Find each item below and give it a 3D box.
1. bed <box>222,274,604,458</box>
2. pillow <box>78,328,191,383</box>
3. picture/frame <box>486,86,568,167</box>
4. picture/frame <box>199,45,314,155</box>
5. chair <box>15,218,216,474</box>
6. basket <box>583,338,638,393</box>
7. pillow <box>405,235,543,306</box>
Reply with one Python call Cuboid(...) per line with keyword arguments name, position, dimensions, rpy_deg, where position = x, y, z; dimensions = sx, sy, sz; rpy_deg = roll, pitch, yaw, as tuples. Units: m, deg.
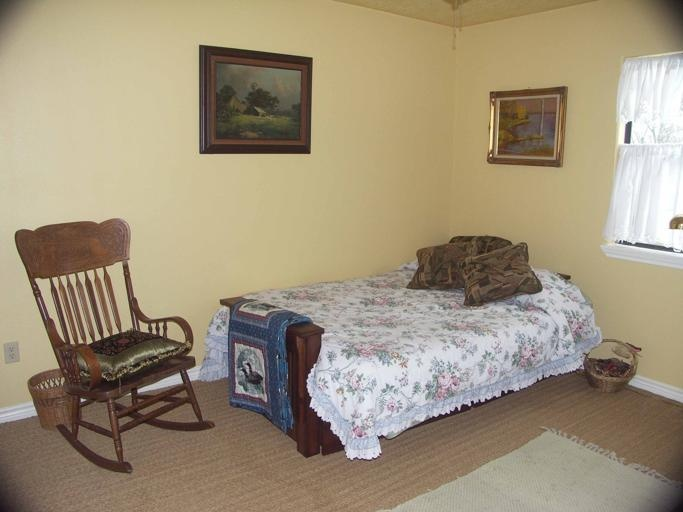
Cuboid(name="bed", position=(0.680, 0.609, 3.618), dimensions=(1.914, 0.592, 1.324), rpy_deg=(-12, 19, -33))
Cuboid(name="pillow", position=(-1.374, 0.640, 3.401), dimensions=(0.638, 0.184, 0.413), rpy_deg=(-11, 18, -41))
Cuboid(name="picture/frame", position=(1.744, -1.209, 4.773), dimensions=(0.082, 0.770, 0.786), rpy_deg=(-4, 9, -42))
Cuboid(name="picture/frame", position=(-0.731, -1.295, 4.217), dimensions=(0.987, 0.809, 0.070), rpy_deg=(-5, 14, -31))
Cuboid(name="chair", position=(-1.539, 0.517, 3.479), dimensions=(1.107, 1.437, 0.797), rpy_deg=(13, 19, 41))
Cuboid(name="basket", position=(2.188, 0.900, 4.196), dimensions=(0.399, 0.312, 0.438), rpy_deg=(-6, 8, -10))
Cuboid(name="pillow", position=(1.098, 0.134, 4.318), dimensions=(0.661, 0.233, 0.718), rpy_deg=(-10, 8, -6))
